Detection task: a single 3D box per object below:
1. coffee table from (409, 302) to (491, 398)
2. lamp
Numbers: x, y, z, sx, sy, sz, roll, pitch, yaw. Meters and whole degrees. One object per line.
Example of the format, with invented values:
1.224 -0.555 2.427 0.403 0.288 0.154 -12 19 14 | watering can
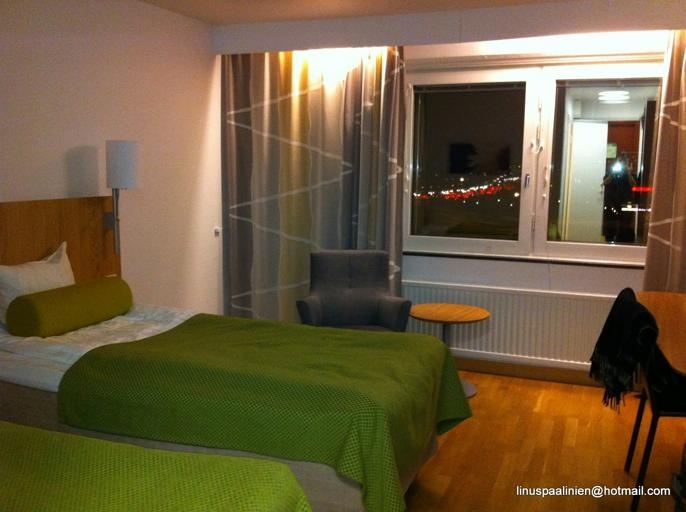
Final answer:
0.886 0.830 4.664 0.598 0.605 0.585 -1 -6 -33 | coffee table
-1.618 -0.439 4.121 0.233 0.826 0.198 -2 12 -11 | lamp
